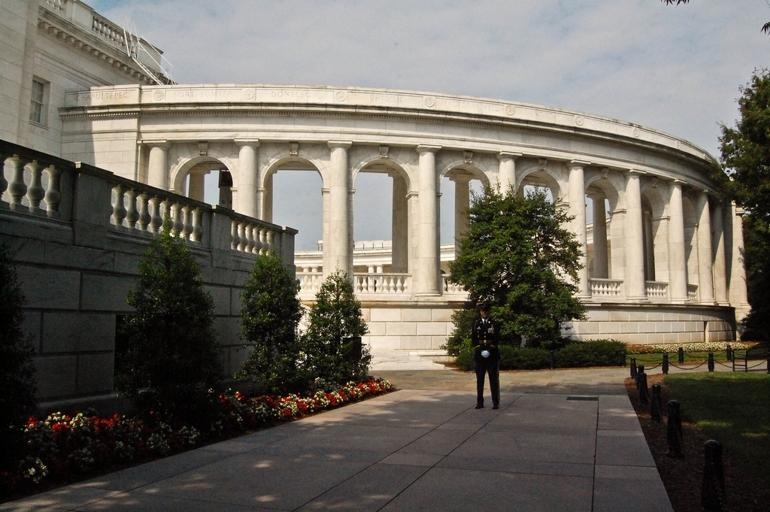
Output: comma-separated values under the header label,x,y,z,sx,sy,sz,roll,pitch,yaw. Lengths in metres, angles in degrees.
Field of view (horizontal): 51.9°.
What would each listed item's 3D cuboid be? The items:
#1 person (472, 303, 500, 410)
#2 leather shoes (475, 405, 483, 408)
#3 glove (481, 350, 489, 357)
label,x,y,z,sx,sy,sz,roll,pitch,yaw
person,3.028,2.962,23.554,0.827,3.006,1.445,0,3,7
leather shoes,2.766,4.422,23.052,0.234,0.093,0.242,0,3,2
glove,3.000,2.939,23.441,0.196,0.185,0.056,12,-3,19
